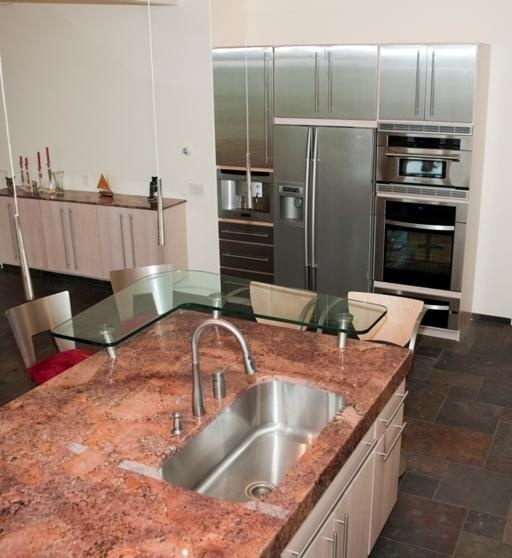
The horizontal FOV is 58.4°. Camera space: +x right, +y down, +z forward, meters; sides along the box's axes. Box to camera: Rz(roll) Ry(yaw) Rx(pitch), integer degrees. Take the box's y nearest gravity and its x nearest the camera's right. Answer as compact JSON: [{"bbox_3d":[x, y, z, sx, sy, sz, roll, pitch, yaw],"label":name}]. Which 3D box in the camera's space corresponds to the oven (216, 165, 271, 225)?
[{"bbox_3d":[-0.103,-0.978,5.146,0.653,0.582,0.239,7,24,16],"label":"oven"}]

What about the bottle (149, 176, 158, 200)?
[{"bbox_3d":[-1.215,-1.070,5.335,0.099,0.282,0.543,-5,12,-12],"label":"bottle"}]

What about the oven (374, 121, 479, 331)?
[{"bbox_3d":[1.739,-0.495,4.500,0.682,2.018,0.892,-9,15,-43],"label":"oven"}]

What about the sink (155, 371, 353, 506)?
[{"bbox_3d":[-0.017,0.452,1.678,0.380,0.204,0.709,15,33,29],"label":"sink"}]
